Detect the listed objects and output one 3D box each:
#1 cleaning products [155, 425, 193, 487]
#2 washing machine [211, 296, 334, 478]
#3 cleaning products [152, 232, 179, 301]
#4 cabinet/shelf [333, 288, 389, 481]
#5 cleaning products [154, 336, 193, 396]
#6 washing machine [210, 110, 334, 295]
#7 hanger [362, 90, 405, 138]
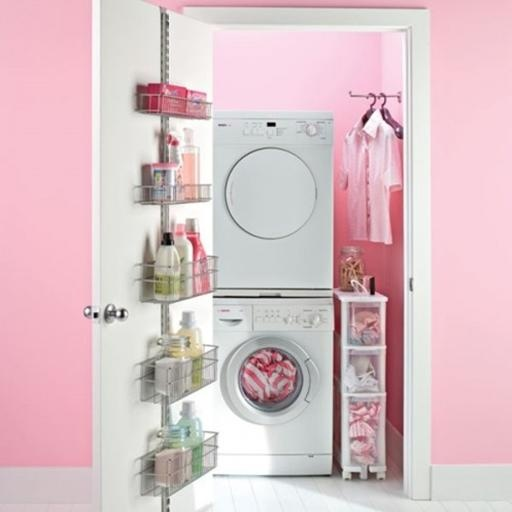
[{"bbox_3d":[-0.300,0.717,2.019,0.123,0.193,0.147,3,7,24],"label":"cleaning products"},{"bbox_3d":[0.121,0.662,3.207,0.789,1.181,0.775,0,-2,-2],"label":"washing machine"},{"bbox_3d":[-0.304,0.035,1.959,0.094,0.228,0.148,-1,7,-8],"label":"cleaning products"},{"bbox_3d":[0.541,0.652,2.994,0.275,0.927,0.375,1,6,8],"label":"cabinet/shelf"},{"bbox_3d":[-0.284,0.387,2.022,0.108,0.199,0.173,2,7,23],"label":"cleaning products"},{"bbox_3d":[0.149,-0.264,3.175,0.674,0.976,0.640,-1,0,12],"label":"washing machine"},{"bbox_3d":[0.692,-0.755,3.080,0.049,0.232,0.351,-9,17,-25],"label":"hanger"}]
